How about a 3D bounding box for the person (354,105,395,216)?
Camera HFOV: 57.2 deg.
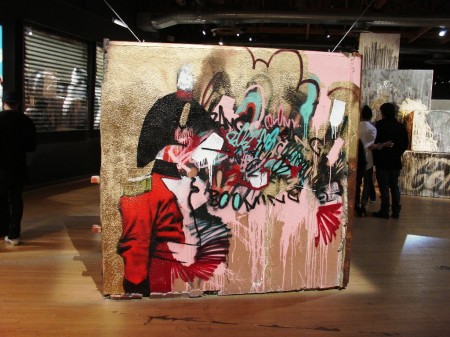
[{"bbox_3d":[2.380,-0.105,6.607,0.462,1.785,0.585,3,5,18],"label":"person"}]
